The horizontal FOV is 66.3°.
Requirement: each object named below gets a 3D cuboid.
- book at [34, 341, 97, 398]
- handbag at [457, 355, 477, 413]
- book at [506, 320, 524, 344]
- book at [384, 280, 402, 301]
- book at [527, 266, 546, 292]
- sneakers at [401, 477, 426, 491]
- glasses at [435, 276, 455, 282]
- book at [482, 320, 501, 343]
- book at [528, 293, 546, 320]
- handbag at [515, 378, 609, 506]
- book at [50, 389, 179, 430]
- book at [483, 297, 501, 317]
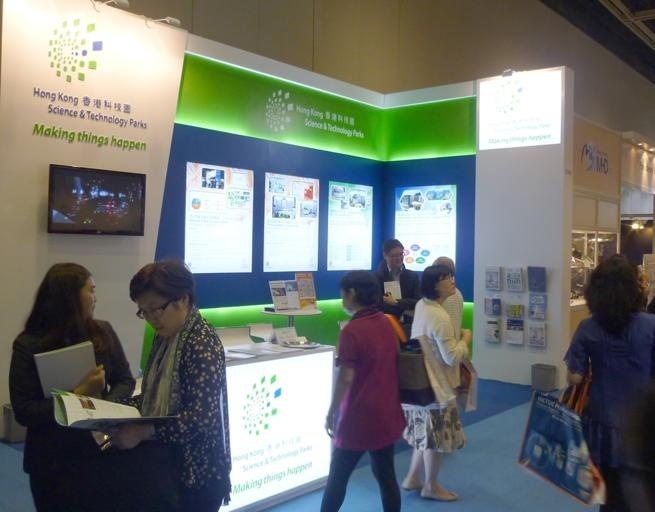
[{"bbox_3d":[-1.154,0.484,2.188,0.230,0.273,0.059,-11,15,-36],"label":"book"},{"bbox_3d":[0.919,0.845,3.293,0.112,0.391,0.224,2,2,16],"label":"handbag"},{"bbox_3d":[2.420,0.974,6.450,0.264,0.401,0.049,4,3,42],"label":"book"},{"bbox_3d":[0.619,0.321,4.660,0.146,0.170,0.037,2,-5,-19],"label":"book"},{"bbox_3d":[2.626,0.288,6.271,0.266,0.422,0.041,-3,-5,45],"label":"book"},{"bbox_3d":[0.628,1.666,3.726,0.196,0.100,0.068,-3,4,-34],"label":"sneakers"},{"bbox_3d":[0.759,0.149,3.267,0.088,0.042,0.096,-1,4,15],"label":"glasses"},{"bbox_3d":[2.178,0.997,6.624,0.047,0.400,0.269,6,-6,-42],"label":"book"},{"bbox_3d":[2.640,0.636,6.294,0.283,0.469,0.045,-3,-6,44],"label":"book"},{"bbox_3d":[1.029,0.827,2.201,0.127,0.380,0.369,0,2,-33],"label":"handbag"},{"bbox_3d":[-0.808,0.558,1.779,0.225,0.102,0.254,-7,-21,45],"label":"book"},{"bbox_3d":[2.180,0.664,6.603,0.115,0.239,0.221,5,-6,-42],"label":"book"}]
